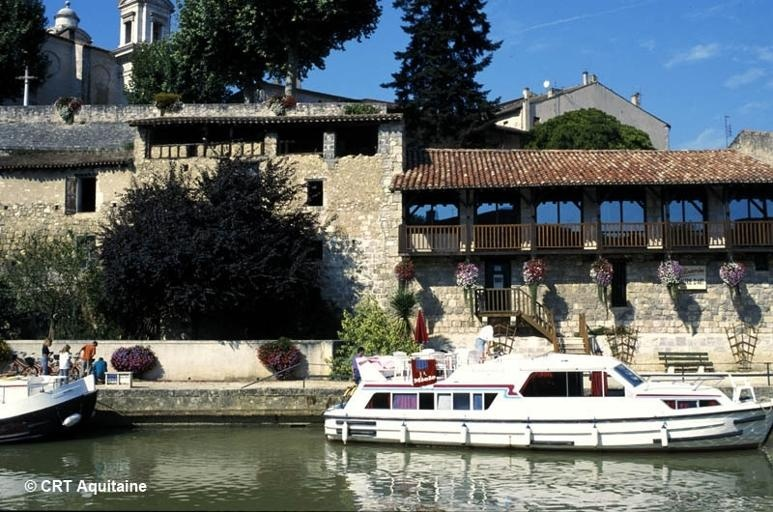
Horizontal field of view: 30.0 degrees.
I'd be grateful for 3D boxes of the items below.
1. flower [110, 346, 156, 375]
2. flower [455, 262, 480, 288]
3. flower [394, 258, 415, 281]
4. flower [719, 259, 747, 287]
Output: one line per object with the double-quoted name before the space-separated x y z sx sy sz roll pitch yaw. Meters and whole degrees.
"flower" -12.519 5.366 72.581 1.652 1.120 1.604 0 -1 -5
"flower" 4.134 1.082 74.300 1.195 1.313 1.307 3 -26 -14
"flower" 1.082 0.764 75.392 1.157 1.205 1.099 -2 19 3
"flower" 17.759 0.949 74.358 1.403 1.377 1.211 -3 0 23
